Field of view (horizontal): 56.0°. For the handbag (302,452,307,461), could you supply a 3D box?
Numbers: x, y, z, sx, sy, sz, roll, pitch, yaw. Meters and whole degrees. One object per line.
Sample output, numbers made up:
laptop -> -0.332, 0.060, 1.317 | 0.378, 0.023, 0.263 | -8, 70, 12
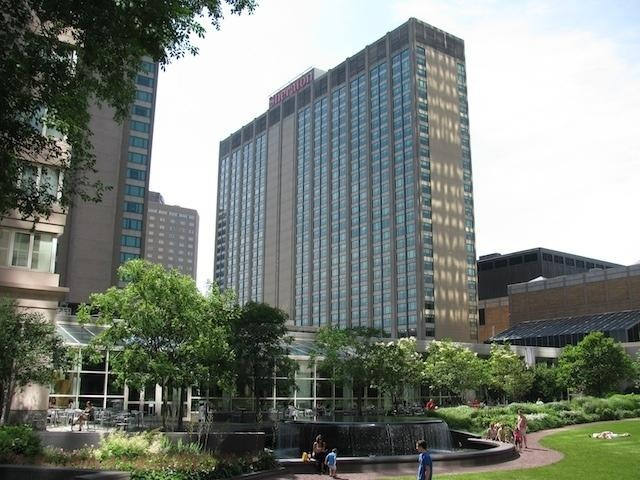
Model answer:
handbag -> -0.792, 11.567, 31.973 | 0.270, 0.437, 0.528 | 0, -18, -1

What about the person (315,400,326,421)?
person -> 0.015, 14.707, 51.633 | 1.034, 1.445, 0.470 | 2, -3, -8
